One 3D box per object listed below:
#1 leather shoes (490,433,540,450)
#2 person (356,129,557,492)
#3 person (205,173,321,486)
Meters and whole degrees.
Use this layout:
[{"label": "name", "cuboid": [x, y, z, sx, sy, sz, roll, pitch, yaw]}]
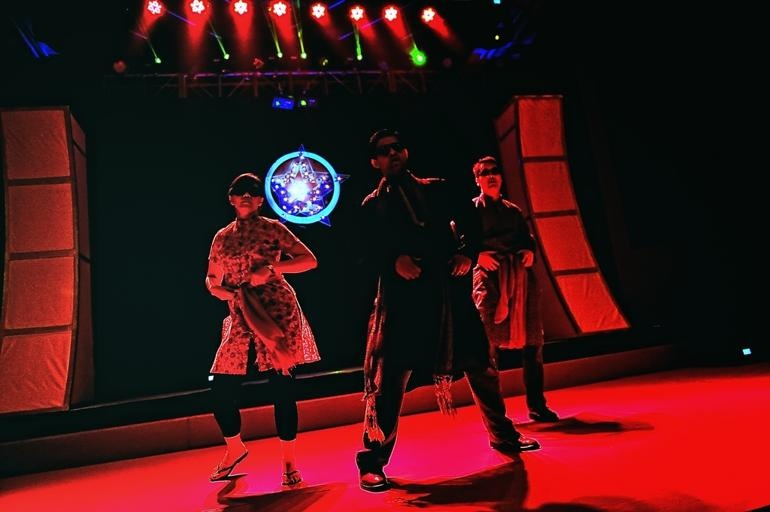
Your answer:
[{"label": "leather shoes", "cuboid": [1.304, 1.885, 6.218, 0.352, 0.129, 0.188, -4, -1, 9]}, {"label": "person", "cuboid": [0.338, 0.483, 6.101, 1.490, 3.371, 0.956, -5, -17, -5]}, {"label": "person", "cuboid": [-1.241, 0.696, 6.235, 1.116, 3.112, 0.810, -7, -17, 2]}]
